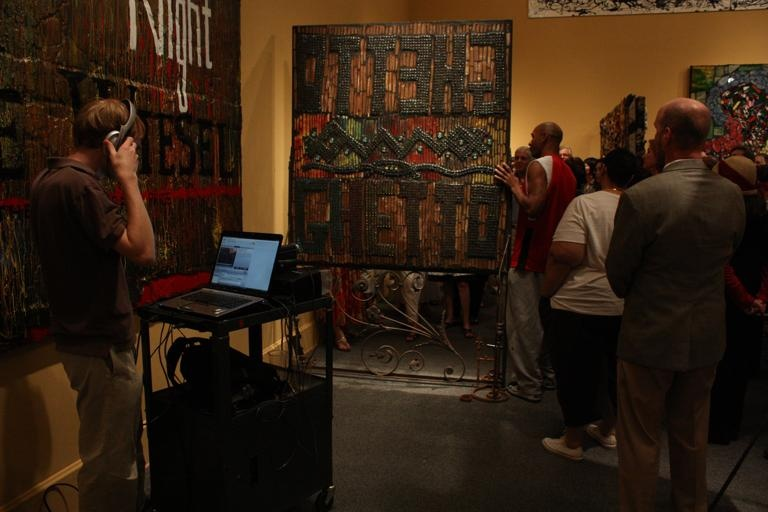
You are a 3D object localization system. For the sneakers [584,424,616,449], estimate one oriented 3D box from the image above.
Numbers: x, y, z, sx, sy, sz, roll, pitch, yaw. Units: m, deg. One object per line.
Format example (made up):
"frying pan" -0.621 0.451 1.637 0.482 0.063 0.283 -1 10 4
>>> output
"sneakers" 1.526 1.281 4.558 0.078 0.090 0.220 -4 14 -20

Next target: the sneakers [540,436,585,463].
"sneakers" 1.203 1.308 4.377 0.275 0.123 0.119 9 4 36

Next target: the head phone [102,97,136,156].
"head phone" -1.331 -0.681 3.339 0.058 0.251 0.196 21 -23 -38

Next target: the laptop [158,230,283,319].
"laptop" -0.933 0.079 3.705 0.517 0.367 0.549 8 15 29
